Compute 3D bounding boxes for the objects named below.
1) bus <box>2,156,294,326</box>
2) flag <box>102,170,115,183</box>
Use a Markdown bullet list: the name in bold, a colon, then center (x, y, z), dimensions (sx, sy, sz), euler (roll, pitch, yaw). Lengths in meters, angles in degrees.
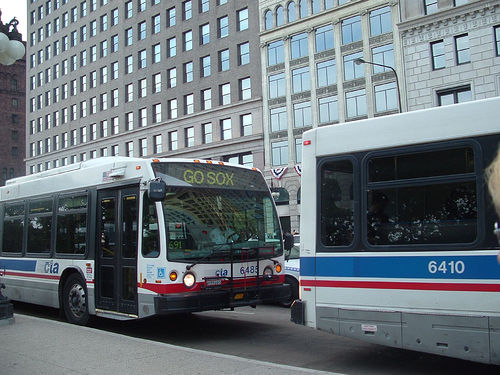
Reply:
- **bus**: center (-3.640, 1.288, 11.769), dimensions (9.210, 3.995, 2.780), euler (-3, -6, 32)
- **flag**: center (-3.248, -0.245, 10.552), dimensions (0.250, 0.202, 0.065), euler (-5, -2, 37)
